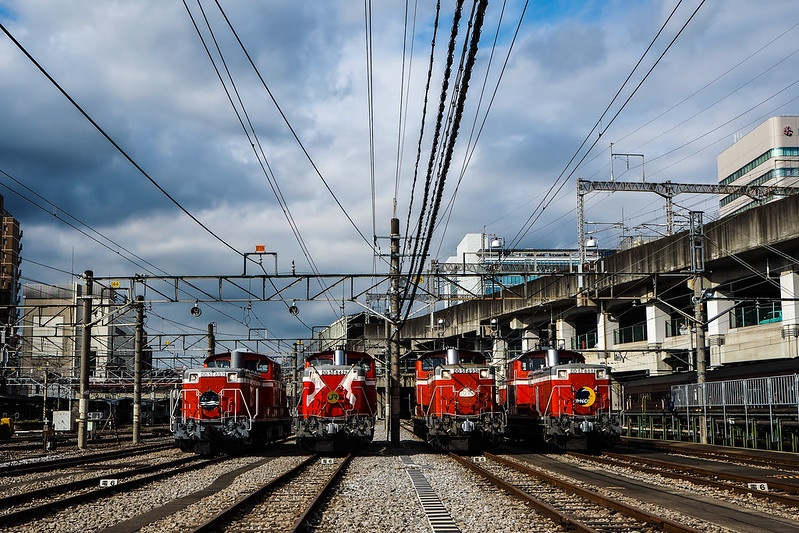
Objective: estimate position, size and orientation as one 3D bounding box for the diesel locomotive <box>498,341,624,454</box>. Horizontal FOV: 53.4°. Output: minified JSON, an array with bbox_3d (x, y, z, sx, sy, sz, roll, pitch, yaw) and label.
[{"bbox_3d":[7.651,6.906,41.334,4.155,4.843,12.541,-1,-9,-6],"label":"diesel locomotive"}]

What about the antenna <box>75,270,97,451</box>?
[{"bbox_3d":[-15.968,5.108,40.931,0.942,10.509,0.920,9,16,3],"label":"antenna"}]

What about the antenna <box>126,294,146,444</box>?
[{"bbox_3d":[-15.343,6.189,46.031,0.780,8.661,0.788,8,7,35],"label":"antenna"}]
